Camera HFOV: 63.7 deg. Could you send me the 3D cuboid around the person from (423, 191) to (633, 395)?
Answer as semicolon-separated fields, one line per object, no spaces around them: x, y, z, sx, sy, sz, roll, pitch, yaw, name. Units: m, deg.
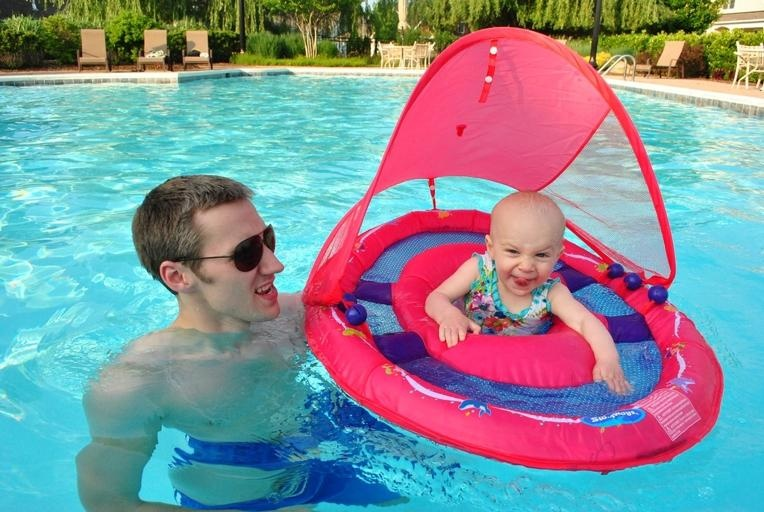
0.808;0.403;3.910;1.247;1.517;1.107;3;41;7;person
